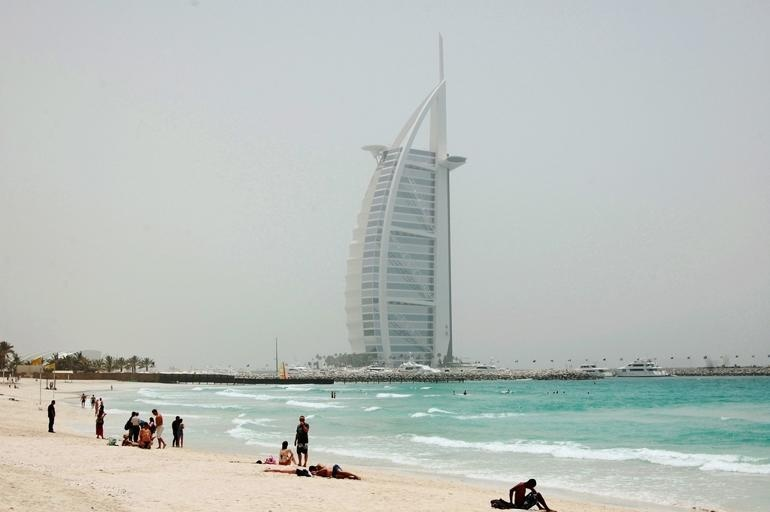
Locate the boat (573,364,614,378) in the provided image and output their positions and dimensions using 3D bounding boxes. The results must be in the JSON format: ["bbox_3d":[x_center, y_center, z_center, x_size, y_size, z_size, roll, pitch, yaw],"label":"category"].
[{"bbox_3d":[47.204,26.222,191.356,7.173,3.228,38.905,-4,-12,14],"label":"boat"}]

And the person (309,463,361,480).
[{"bbox_3d":[-2.378,9.929,39.030,1.525,0.423,1.065,7,1,-3],"label":"person"}]

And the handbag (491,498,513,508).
[{"bbox_3d":[4.887,10.516,36.095,0.972,0.375,0.312,0,-1,-24],"label":"handbag"}]

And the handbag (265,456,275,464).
[{"bbox_3d":[-5.496,9.885,41.187,0.487,0.500,0.204,5,-8,-1],"label":"handbag"}]

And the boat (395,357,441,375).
[{"bbox_3d":[5.243,18.368,140.327,7.829,2.573,2.414,5,-8,-15],"label":"boat"}]

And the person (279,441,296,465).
[{"bbox_3d":[-4.756,9.541,41.221,0.751,1.073,1.315,1,-12,-7],"label":"person"}]

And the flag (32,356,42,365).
[{"bbox_3d":[-54.224,16.636,133.555,2.182,0.883,2.338,0,-13,-23],"label":"flag"}]
